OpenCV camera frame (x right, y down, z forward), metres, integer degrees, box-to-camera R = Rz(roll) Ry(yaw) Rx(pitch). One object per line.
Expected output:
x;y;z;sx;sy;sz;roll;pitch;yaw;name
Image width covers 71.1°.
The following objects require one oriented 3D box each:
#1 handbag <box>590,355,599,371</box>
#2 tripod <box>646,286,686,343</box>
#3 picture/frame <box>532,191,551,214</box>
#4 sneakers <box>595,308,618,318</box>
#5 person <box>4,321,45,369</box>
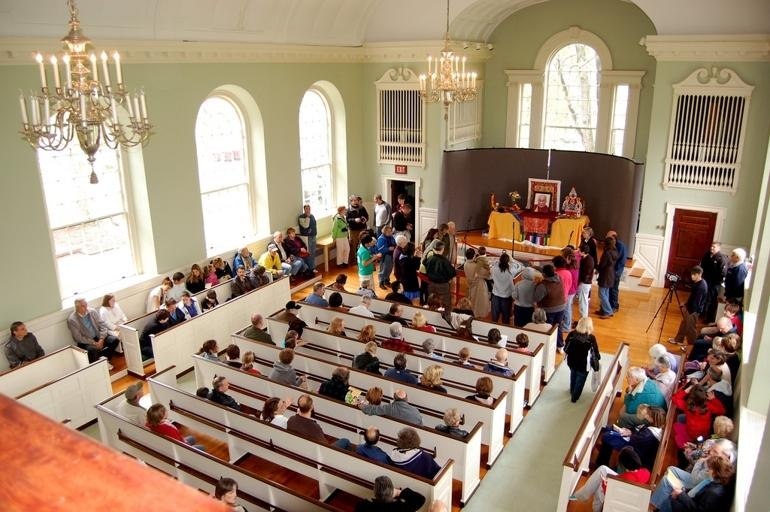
3.392;1.714;8.740;0.102;0.212;0.198;-5;23;24;handbag
6.065;1.288;11.630;0.727;1.089;0.726;-18;25;-33;tripod
3.998;-1.384;13.715;0.461;0.561;0.055;12;-3;15;picture/frame
4.861;1.252;11.841;0.448;0.199;0.170;3;24;27;sneakers
-6.072;1.502;9.053;0.491;0.804;0.550;2;17;6;person
